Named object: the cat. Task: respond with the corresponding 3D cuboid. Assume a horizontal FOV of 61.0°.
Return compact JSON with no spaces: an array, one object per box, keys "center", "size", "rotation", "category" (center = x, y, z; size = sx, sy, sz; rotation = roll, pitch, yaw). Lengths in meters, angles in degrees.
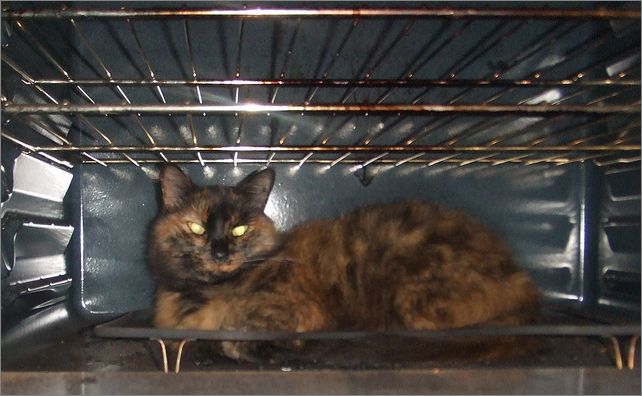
[{"center":[0.115,0.359,2.561],"size":[1.322,0.602,1.020],"rotation":[0,-5,-13],"category":"cat"}]
